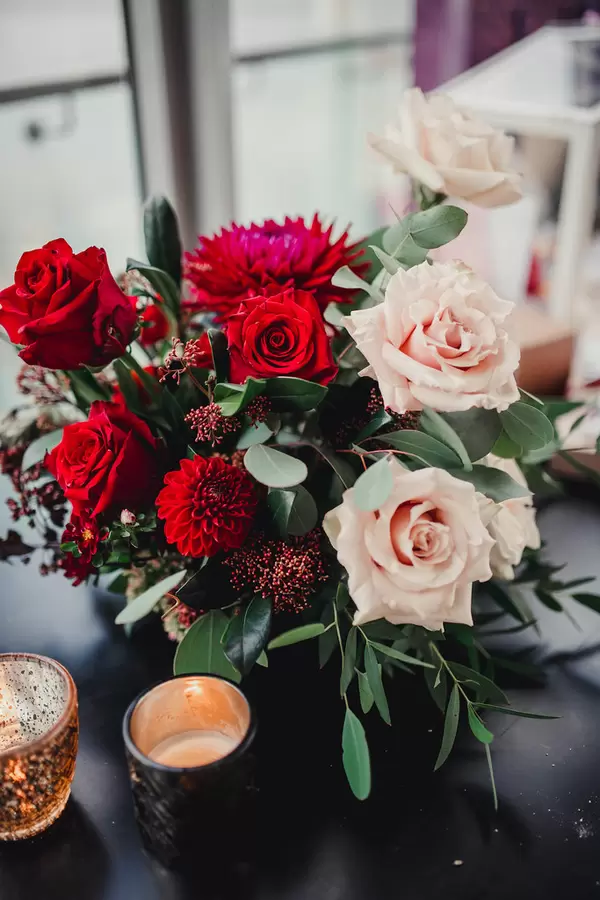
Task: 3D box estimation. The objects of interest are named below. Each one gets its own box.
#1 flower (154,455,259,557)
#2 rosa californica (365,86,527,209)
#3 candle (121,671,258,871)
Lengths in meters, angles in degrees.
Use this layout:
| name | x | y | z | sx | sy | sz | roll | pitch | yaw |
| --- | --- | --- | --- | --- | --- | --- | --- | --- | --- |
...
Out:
| name | x | y | z | sx | sy | sz | roll | pitch | yaw |
| --- | --- | --- | --- | --- | --- | --- | --- | --- | --- |
| flower | -0.059 | 0.033 | 0.440 | 0.054 | 0.046 | 0.051 | 6 | 29 | 15 |
| rosa californica | 0.109 | -0.222 | 0.534 | 0.112 | 0.083 | 0.077 | 2 | 29 | 9 |
| candle | -0.061 | 0.189 | 0.427 | 0.075 | 0.080 | 0.078 | 13 | 26 | 27 |
